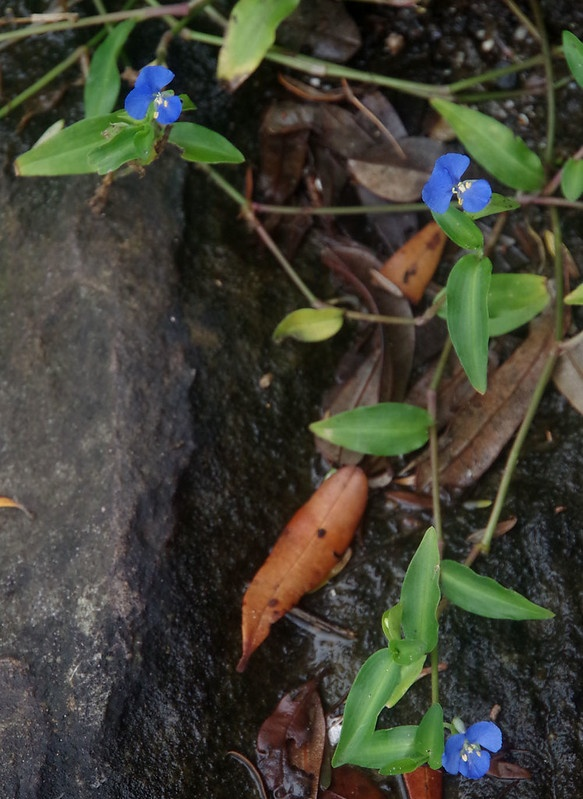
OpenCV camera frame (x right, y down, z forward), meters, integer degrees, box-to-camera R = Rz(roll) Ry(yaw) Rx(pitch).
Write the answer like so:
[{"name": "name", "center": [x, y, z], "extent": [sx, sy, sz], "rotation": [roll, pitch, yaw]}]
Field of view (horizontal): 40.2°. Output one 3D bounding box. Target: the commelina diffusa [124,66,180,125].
[{"name": "commelina diffusa", "center": [-0.279, -0.626, 1.634], "extent": [0.120, 0.117, 0.047], "rotation": [3, 7, 5]}]

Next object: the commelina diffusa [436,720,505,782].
[{"name": "commelina diffusa", "center": [0.376, 0.757, 1.741], "extent": [0.148, 0.062, 0.126], "rotation": [-22, 86, 5]}]
